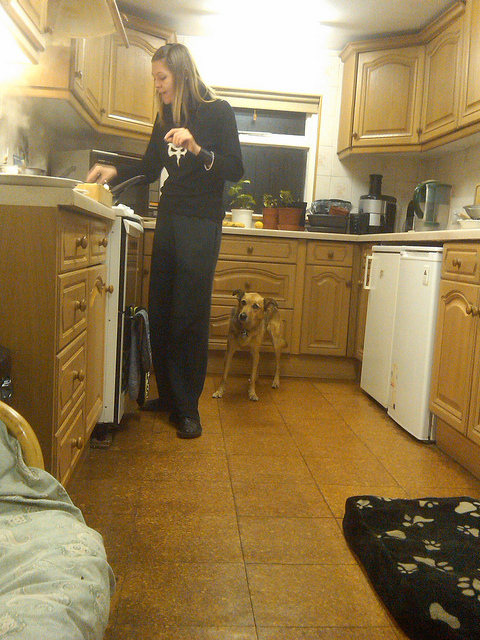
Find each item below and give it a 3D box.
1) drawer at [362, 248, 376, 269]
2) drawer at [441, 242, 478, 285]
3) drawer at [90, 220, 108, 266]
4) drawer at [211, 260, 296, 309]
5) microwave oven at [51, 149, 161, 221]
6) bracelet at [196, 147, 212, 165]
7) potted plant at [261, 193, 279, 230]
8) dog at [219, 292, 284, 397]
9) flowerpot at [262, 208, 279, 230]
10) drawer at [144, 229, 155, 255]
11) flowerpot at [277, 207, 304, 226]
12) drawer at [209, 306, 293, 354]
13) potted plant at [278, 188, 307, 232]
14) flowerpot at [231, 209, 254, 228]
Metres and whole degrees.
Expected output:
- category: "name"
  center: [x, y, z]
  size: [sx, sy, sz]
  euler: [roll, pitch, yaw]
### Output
- category: "drawer"
  center: [0.807, -0.401, 3.022]
  size: [0.052, 0.125, 0.294]
  euler: [7, 3, 13]
- category: "drawer"
  center: [0.870, -0.236, 1.876]
  size: [0.113, 0.135, 0.189]
  euler: [1, 5, -2]
- category: "drawer"
  center: [-0.459, -0.254, 1.534]
  size: [0.050, 0.131, 0.175]
  euler: [4, 9, 3]
- category: "drawer"
  center: [0.087, -0.269, 3.159]
  size: [0.441, 0.337, 0.298]
  euler: [5, -5, -2]
- category: "microwave oven"
  center: [-0.898, -0.926, 3.160]
  size: [0.718, 0.430, 0.421]
  euler: [8, 3, -15]
- category: "bracelet"
  center: [-0.145, -0.646, 1.891]
  size: [0.061, 0.041, 0.142]
  euler: [8, 4, -8]
- category: "potted plant"
  center: [0.231, -0.862, 3.719]
  size: [0.138, 0.231, 0.407]
  euler: [7, 4, 2]
- category: "dog"
  center: [0.091, 0.126, 2.921]
  size: [0.246, 0.640, 0.887]
  euler: [9, 5, 16]
- category: "flowerpot"
  center: [0.224, -0.762, 3.552]
  size: [0.117, 0.157, 0.129]
  euler: [-1, 10, -12]
- category: "drawer"
  center: [-0.595, -0.506, 3.050]
  size: [0.054, 0.164, 0.082]
  euler: [5, 4, -18]
- category: "flowerpot"
  center: [0.362, -0.754, 3.419]
  size: [0.115, 0.106, 0.128]
  euler: [1, 3, 15]
- category: "drawer"
  center: [0.076, 0.063, 3.139]
  size: [0.559, 0.245, 0.214]
  euler: [9, 4, 0]
- category: "potted plant"
  center: [0.340, -0.835, 3.500]
  size: [0.182, 0.270, 0.209]
  euler: [3, 20, 19]
- category: "flowerpot"
  center: [0.019, -0.722, 3.438]
  size: [0.123, 0.110, 0.130]
  euler: [-2, 9, -27]
